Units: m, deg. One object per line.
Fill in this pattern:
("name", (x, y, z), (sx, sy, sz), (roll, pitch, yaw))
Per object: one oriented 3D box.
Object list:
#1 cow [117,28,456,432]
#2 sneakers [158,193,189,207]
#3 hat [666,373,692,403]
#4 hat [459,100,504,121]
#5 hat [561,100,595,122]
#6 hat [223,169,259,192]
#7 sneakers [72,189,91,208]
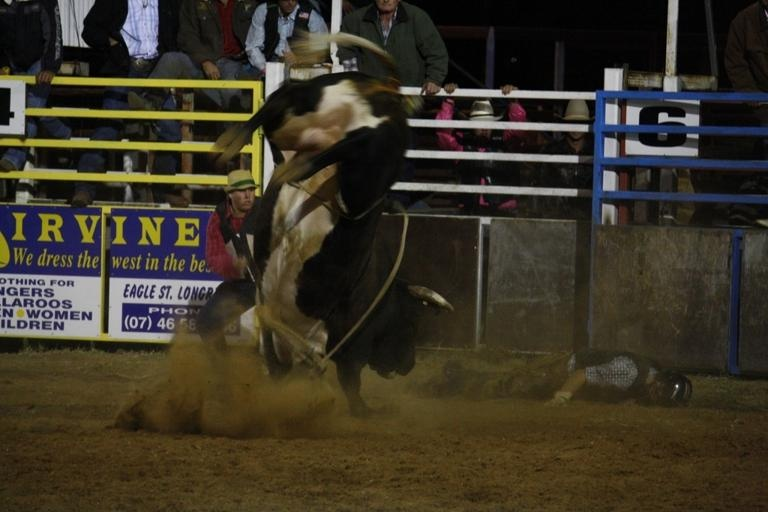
("cow", (-0.660, -0.495, 15.284), (2.114, 4.542, 2.185), (2, 0, 11))
("sneakers", (-3.191, -0.840, 19.594), (0.336, 0.137, 0.252), (20, -16, 23))
("hat", (4.045, 1.797, 17.354), (0.310, 0.404, 0.221), (2, 0, 10))
("hat", (1.528, -2.304, 20.178), (0.551, 0.237, 0.610), (-1, -9, -5))
("hat", (3.084, -2.304, 20.179), (0.421, 0.350, 0.631), (2, 0, 9))
("hat", (-1.989, -1.019, 17.386), (0.269, 0.158, 0.361), (-8, -1, -37))
("sneakers", (-4.530, -0.875, 19.125), (0.339, 0.265, 0.281), (2, 0, -26))
